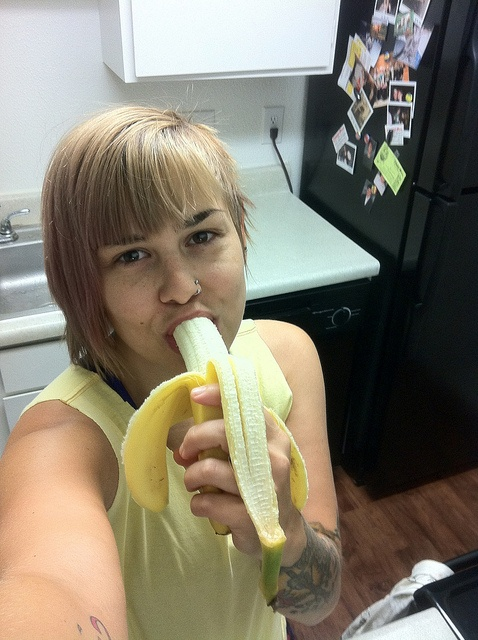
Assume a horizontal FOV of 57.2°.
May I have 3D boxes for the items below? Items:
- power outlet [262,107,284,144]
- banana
[{"bbox_3d":[0.145,-0.846,1.881,0.112,0.207,0.020,-6,28,-14],"label":"power outlet"},{"bbox_3d":[-0.036,0.053,0.370,0.138,0.090,0.288,-4,70,-23],"label":"banana"}]
